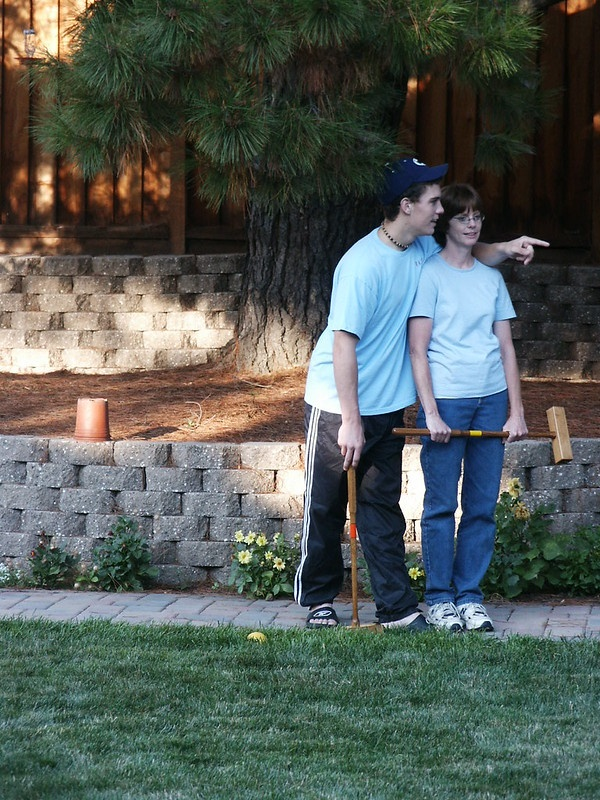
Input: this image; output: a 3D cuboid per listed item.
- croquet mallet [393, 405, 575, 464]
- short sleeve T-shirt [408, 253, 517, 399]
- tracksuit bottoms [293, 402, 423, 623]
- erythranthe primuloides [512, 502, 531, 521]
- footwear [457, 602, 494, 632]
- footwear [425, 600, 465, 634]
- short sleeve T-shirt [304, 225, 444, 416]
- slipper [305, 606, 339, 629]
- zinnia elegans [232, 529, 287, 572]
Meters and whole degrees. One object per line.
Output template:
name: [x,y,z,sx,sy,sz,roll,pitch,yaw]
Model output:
croquet mallet: [0.697,0.143,5.519,0.622,0.085,0.219,4,-3,-8]
short sleeve T-shirt: [0.578,-0.259,5.276,0.533,0.606,0.293,0,-5,-27]
tracksuit bottoms: [0.172,0.348,5.313,0.488,1.021,0.292,-6,33,-5]
erythranthe primuloides: [0.926,0.469,6.048,0.072,0.080,0.067,-4,4,-35]
footwear: [0.647,0.808,5.357,0.067,0.072,0.160,2,0,-25]
footwear: [0.548,0.805,5.314,0.067,0.065,0.147,-1,-1,-17]
short sleeve T-shirt: [0.285,-0.280,5.214,0.205,0.660,0.558,5,8,34]
slipper: [0.079,0.811,5.355,0.082,0.057,0.155,-1,-5,1]
zinnia elegans: [-0.176,0.621,6.095,0.204,0.136,0.257,0,7,-3]
